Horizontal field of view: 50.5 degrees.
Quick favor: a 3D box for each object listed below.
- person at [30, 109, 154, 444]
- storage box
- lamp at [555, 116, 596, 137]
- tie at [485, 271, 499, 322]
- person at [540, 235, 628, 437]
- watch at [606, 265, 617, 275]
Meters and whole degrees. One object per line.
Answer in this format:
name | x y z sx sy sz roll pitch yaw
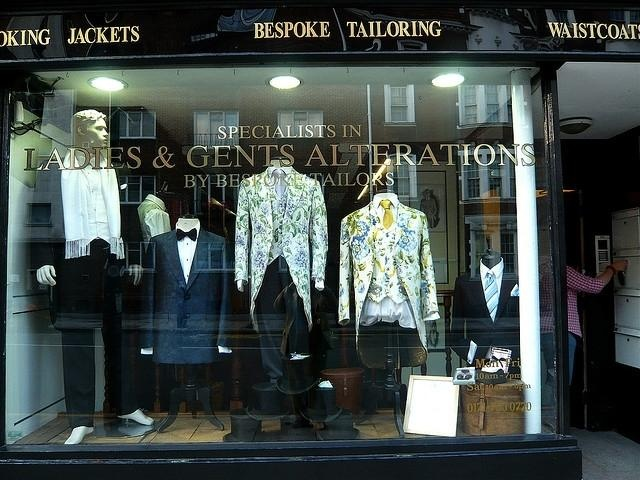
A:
person | -1.783 0.245 5.324 0.741 2.581 0.239 0 -2 -22
storage box | 1.345 1.281 5.283 0.438 0.317 0.416 2 -9 -11
lamp | 2.347 -1.065 6.199 0.261 0.061 0.259 -1 -9 20
tie | 1.378 0.443 5.411 0.108 0.377 0.039 -1 -2 7
person | 2.293 0.801 5.759 0.550 1.363 1.576 -2 -1 27
watch | 2.662 0.262 6.168 0.081 0.089 0.047 -14 -2 10
